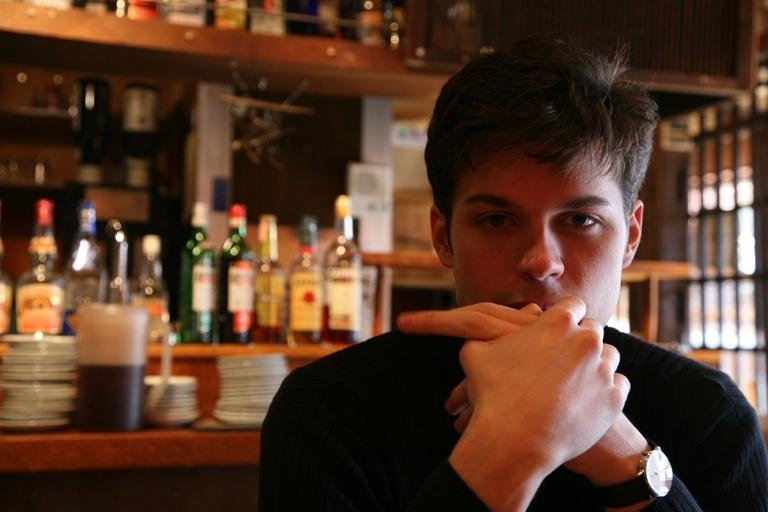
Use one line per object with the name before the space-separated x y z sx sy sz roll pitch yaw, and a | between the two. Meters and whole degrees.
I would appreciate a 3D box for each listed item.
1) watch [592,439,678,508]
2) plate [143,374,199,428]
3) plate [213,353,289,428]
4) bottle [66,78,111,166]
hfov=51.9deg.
watch | 0.467 0.408 1.475 0.105 0.111 0.107 -27 -44 12
plate | -0.499 0.334 1.866 0.116 0.082 0.118 1 1 27
plate | -0.318 0.313 1.933 0.174 0.151 0.176 3 -2 9
bottle | -1.343 -0.605 3.612 0.153 0.365 0.339 2 -2 -22
